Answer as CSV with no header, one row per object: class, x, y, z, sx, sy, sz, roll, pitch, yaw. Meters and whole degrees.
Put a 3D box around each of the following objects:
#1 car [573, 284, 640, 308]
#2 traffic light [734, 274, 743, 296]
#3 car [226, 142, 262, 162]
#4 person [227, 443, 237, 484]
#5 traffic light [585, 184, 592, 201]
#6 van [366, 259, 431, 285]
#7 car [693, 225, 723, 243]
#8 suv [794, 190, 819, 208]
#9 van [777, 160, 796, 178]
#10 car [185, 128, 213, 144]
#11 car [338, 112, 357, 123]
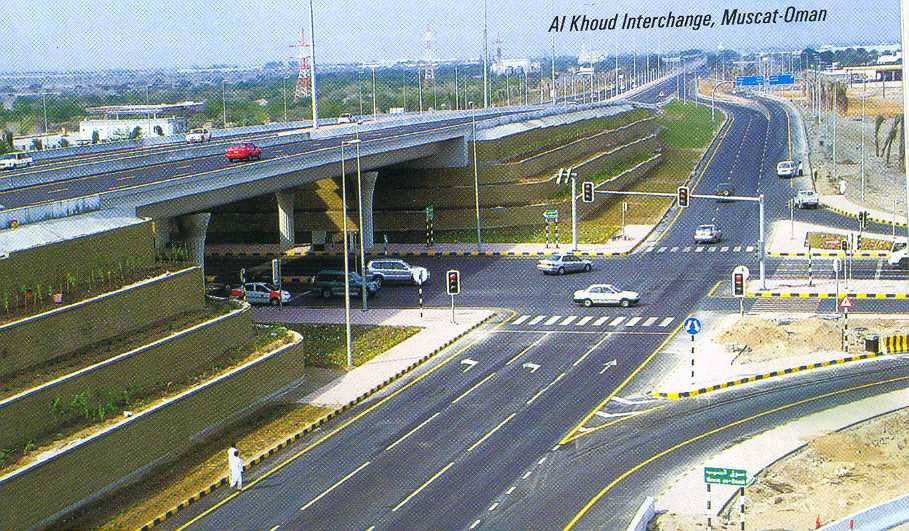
car,11.659,2.420,74.680,4.530,1.583,1.961,-1,9,8
traffic light,19.489,1.291,66.904,0.634,1.400,0.898,0,14,10
car,-15.928,-8.724,75.725,1.232,0.874,2.622,-1,2,9
person,-11.711,10.824,52.152,0.578,2.165,0.389,-3,14,-3
traffic light,11.529,-6.231,83.549,0.717,1.301,0.377,0,-1,10
van,-4.503,0.790,82.342,4.691,1.803,2.237,-1,9,4
car,23.731,-2.858,91.222,2.355,1.460,1.897,1,14,12
suv,36.864,-6.766,101.970,2.283,1.468,2.215,-3,14,-5
van,39.638,-11.394,116.174,1.516,1.403,2.854,6,17,36
car,-24.298,-12.283,93.473,1.588,1.186,2.441,-1,4,10
car,-12.227,-17.166,113.442,1.445,0.936,2.140,-1,4,15
